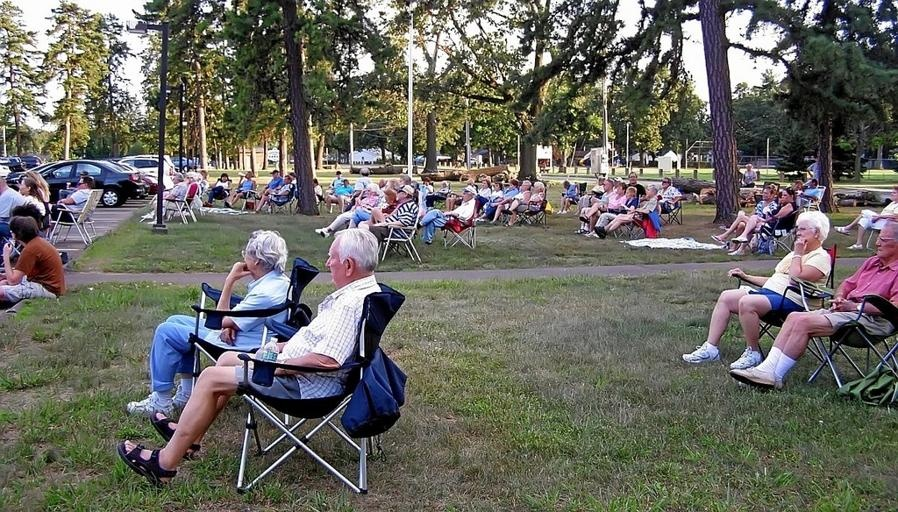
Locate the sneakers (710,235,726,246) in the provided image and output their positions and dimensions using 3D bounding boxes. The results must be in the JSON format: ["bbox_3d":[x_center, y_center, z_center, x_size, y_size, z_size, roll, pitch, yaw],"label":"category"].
[{"bbox_3d":[7.086,-0.383,21.725,0.392,0.157,0.145,41,11,4],"label":"sneakers"}]

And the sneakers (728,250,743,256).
[{"bbox_3d":[6.941,-0.068,19.998,0.322,0.136,0.130,0,0,40],"label":"sneakers"}]

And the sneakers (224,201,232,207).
[{"bbox_3d":[-8.368,-1.928,31.218,0.208,0.240,0.215,4,15,5],"label":"sneakers"}]

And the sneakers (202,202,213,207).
[{"bbox_3d":[-9.062,-1.910,30.976,0.410,0.186,0.157,-4,6,-2],"label":"sneakers"}]

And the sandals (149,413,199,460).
[{"bbox_3d":[-3.417,2.281,10.284,0.251,0.655,0.219,-38,-7,1],"label":"sandals"}]

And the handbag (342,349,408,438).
[{"bbox_3d":[-0.954,1.737,10.197,0.508,0.812,1.155,-3,4,4],"label":"handbag"}]

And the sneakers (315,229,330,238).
[{"bbox_3d":[-3.272,-0.582,21.430,0.237,0.202,0.574,22,0,-10],"label":"sneakers"}]

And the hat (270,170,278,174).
[{"bbox_3d":[-6.200,-2.968,29.398,0.241,0.154,0.347,1,0,-28],"label":"hat"}]

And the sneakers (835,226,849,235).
[{"bbox_3d":[10.809,-0.680,22.732,0.206,0.151,0.359,-6,15,-43],"label":"sneakers"}]

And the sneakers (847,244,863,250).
[{"bbox_3d":[10.231,-0.202,20.771,0.454,0.196,0.175,1,1,-1],"label":"sneakers"}]
